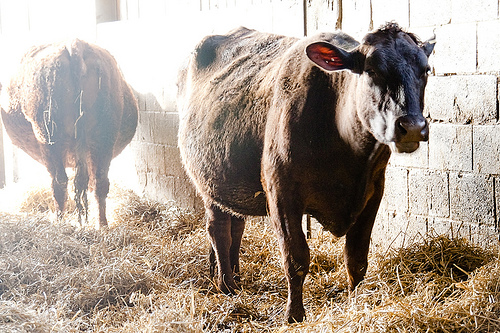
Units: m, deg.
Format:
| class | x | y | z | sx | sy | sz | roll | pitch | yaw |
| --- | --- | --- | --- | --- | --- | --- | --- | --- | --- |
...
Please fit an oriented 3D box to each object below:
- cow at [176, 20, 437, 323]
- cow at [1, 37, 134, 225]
| class | x | y | z | sx | sy | sz | roll | pitch | yaw |
| --- | --- | --- | --- | --- | --- | --- | --- | --- | --- |
| cow | 0.368 | 0.042 | 4.860 | 1.441 | 2.521 | 3.231 | -6 | 7 | -31 |
| cow | -2.684 | -0.465 | 6.903 | 2.238 | 2.198 | 1.446 | 1 | 6 | 16 |
